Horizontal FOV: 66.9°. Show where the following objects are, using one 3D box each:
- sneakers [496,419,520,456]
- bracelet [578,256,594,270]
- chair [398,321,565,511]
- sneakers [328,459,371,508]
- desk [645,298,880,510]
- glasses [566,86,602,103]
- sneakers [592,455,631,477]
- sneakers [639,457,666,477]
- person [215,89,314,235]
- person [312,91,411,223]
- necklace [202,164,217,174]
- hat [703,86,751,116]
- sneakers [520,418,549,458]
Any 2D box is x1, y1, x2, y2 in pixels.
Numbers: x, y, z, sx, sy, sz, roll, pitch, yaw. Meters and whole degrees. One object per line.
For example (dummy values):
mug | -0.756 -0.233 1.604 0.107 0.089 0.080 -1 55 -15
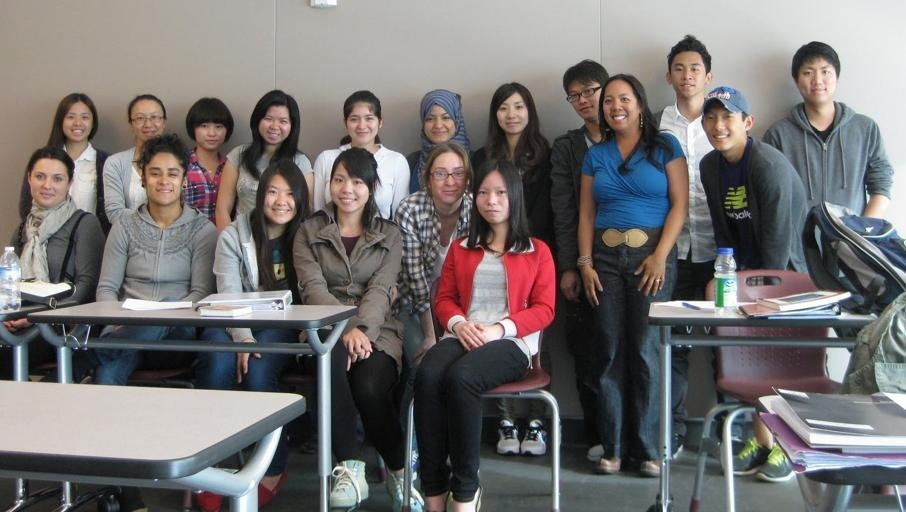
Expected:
sneakers | 0.389 1.216 4.727 0.165 0.156 0.394 -1 10 4
bracelet | 0.866 0.046 4.432 0.081 0.062 0.079 -11 14 -43
chair | 0.208 1.020 4.115 0.876 0.857 0.918 -2 -2 7
sneakers | -0.576 1.277 3.831 0.160 0.191 0.336 -4 -12 16
desk | 1.440 0.890 3.896 1.561 1.201 1.028 0 1 1
glasses | 0.883 -1.107 4.635 0.128 0.035 0.130 -10 13 46
sneakers | 0.996 1.327 4.315 0.206 0.077 0.080 19 -6 -37
sneakers | 1.209 1.275 4.155 0.139 0.138 0.354 -1 -12 15
person | -1.318 -0.539 4.884 0.730 1.151 0.672 6 5 1
person | -0.654 -0.596 4.930 0.770 1.082 0.456 1 9 -2
necklace | -1.781 -0.643 5.075 0.133 0.069 0.045 -2 -17 -9
hat | 1.726 -0.972 4.289 0.258 0.120 0.188 21 -16 -40
sneakers | 0.569 1.235 4.694 0.167 0.161 0.423 0 3 16
